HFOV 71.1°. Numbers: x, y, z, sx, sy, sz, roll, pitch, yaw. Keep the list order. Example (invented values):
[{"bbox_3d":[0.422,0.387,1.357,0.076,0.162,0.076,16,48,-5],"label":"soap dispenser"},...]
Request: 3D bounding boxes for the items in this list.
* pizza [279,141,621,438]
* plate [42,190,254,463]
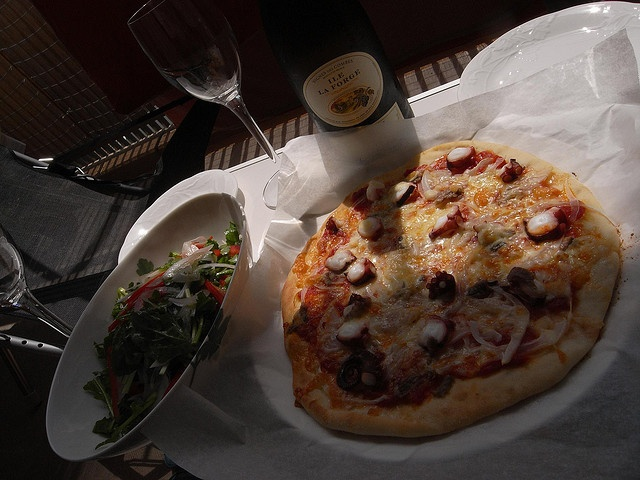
[{"bbox_3d":[0.321,0.104,1.236,0.919,0.157,0.739,-25,63,10],"label":"pizza"},{"bbox_3d":[-0.449,0.196,1.574,0.485,0.257,1.072,12,60,23],"label":"plate"}]
